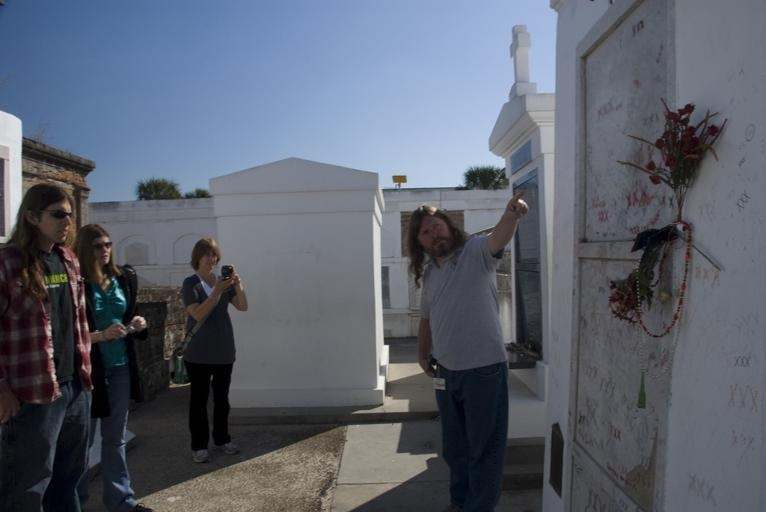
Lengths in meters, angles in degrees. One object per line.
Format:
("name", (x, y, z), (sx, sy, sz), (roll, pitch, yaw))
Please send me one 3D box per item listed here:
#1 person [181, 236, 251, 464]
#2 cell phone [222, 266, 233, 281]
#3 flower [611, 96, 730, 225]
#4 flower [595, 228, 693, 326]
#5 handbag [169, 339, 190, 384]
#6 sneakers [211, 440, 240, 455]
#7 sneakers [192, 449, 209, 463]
("person", (-1.659, 0.898, 5.683), (0.601, 2.126, 0.574), (-3, 7, -16))
("cell phone", (-1.480, 0.157, 5.530), (0.093, 0.122, 0.118), (-10, 0, -39))
("flower", (1.582, -0.460, 3.133), (0.444, 0.486, 0.491), (3, -20, -17))
("flower", (1.477, 0.135, 3.242), (0.201, 0.668, 0.464), (-4, 8, -24))
("handbag", (-2.803, 1.564, 8.059), (0.172, 0.452, 0.140), (-10, -7, -9))
("sneakers", (-1.554, 1.917, 5.736), (0.256, 0.101, 0.106), (-7, -7, 24))
("sneakers", (-1.732, 1.917, 5.485), (0.133, 0.114, 0.108), (-5, -5, -5))
